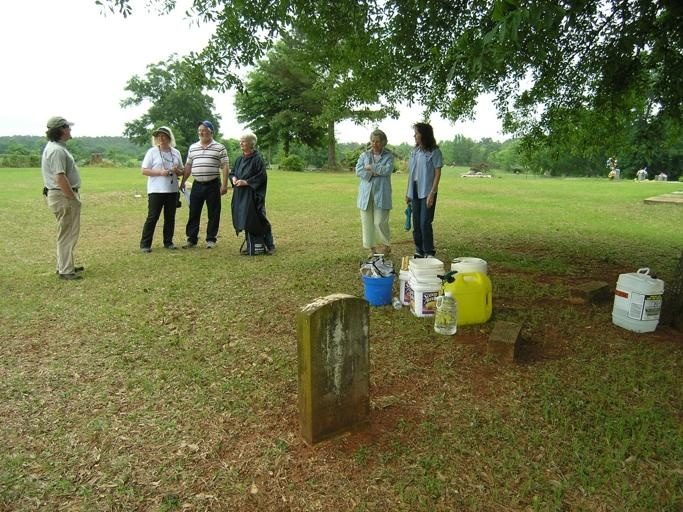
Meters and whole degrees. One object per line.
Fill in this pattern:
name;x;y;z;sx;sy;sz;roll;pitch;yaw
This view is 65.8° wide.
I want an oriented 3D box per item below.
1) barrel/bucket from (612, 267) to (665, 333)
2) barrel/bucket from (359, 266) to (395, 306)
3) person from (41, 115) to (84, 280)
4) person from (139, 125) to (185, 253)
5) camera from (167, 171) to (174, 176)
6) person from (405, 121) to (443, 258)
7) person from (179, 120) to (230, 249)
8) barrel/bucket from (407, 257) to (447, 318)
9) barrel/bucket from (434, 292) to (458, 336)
barrel/bucket;3.431;0.479;6.076;0.402;0.709;0.418;3;12;-1
barrel/bucket;0.499;0.412;7.026;0.403;0.399;0.411;-1;16;0
person;-4.250;-0.853;8.098;0.580;2.310;0.858;-3;10;-28
person;-3.376;-1.364;9.829;0.770;2.622;0.717;-1;14;-29
camera;-3.089;-1.497;9.544;0.050;0.086;0.087;33;55;14
person;1.342;-1.011;8.508;0.544;2.227;1.348;2;10;8
person;-2.594;-1.388;10.010;0.871;2.675;0.787;2;12;-15
barrel/bucket;1.074;0.397;6.632;0.606;0.726;0.603;-2;7;0
barrel/bucket;1.236;0.640;6.074;0.303;0.504;0.213;0;10;-5
